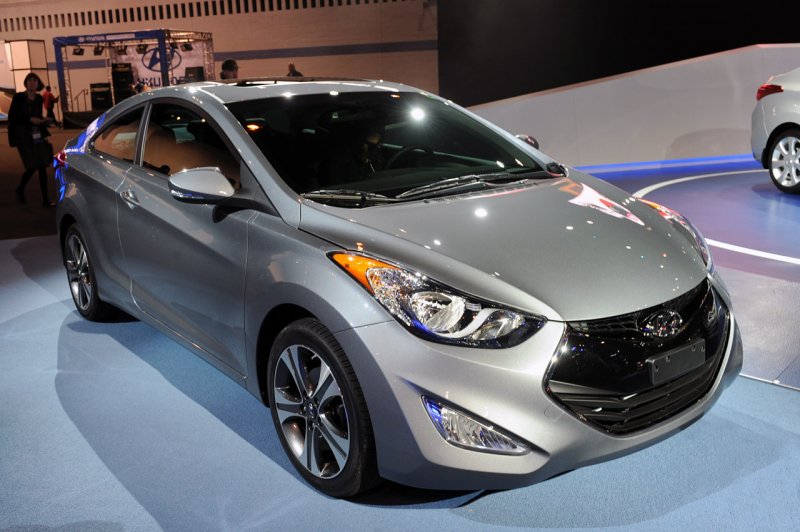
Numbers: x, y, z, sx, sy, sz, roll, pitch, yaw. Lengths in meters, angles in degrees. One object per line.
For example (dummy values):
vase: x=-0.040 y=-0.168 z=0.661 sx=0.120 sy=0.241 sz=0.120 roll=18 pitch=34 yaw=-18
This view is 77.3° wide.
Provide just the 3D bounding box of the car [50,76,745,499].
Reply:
car: x=-0.447 y=-0.031 z=2.935 sx=2.001 sy=1.282 sz=3.662 roll=-17 pitch=27 yaw=-40
